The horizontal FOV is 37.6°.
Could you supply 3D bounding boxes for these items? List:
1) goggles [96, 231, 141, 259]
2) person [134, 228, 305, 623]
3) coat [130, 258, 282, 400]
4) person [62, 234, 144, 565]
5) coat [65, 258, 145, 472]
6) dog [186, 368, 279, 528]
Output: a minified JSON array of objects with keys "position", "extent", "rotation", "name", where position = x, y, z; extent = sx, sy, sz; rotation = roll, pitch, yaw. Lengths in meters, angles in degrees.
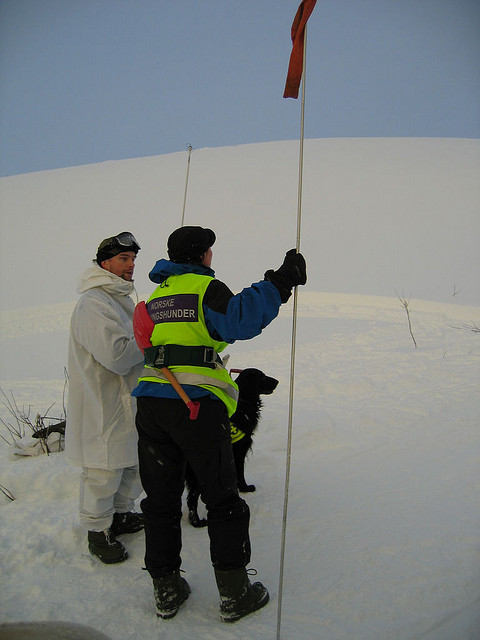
[{"position":[-0.874,-0.560,5.064],"extent":[0.235,0.090,0.184],"rotation":[-26,-3,12],"name":"goggles"},{"position":[-0.172,0.597,4.163],"extent":[1.017,2.289,0.550],"rotation":[-7,8,-1],"name":"person"},{"position":[-0.255,0.046,4.176],"extent":[1.026,0.772,0.647],"rotation":[-6,-5,41],"name":"coat"},{"position":[-0.931,0.520,4.859],"extent":[0.657,2.175,0.745],"rotation":[-8,8,-5],"name":"person"},{"position":[-0.943,0.318,5.082],"extent":[0.740,1.468,0.728],"rotation":[-1,-5,21],"name":"coat"},{"position":[0.045,0.941,5.485],"extent":[0.910,1.091,0.793],"rotation":[2,18,2],"name":"dog"}]
